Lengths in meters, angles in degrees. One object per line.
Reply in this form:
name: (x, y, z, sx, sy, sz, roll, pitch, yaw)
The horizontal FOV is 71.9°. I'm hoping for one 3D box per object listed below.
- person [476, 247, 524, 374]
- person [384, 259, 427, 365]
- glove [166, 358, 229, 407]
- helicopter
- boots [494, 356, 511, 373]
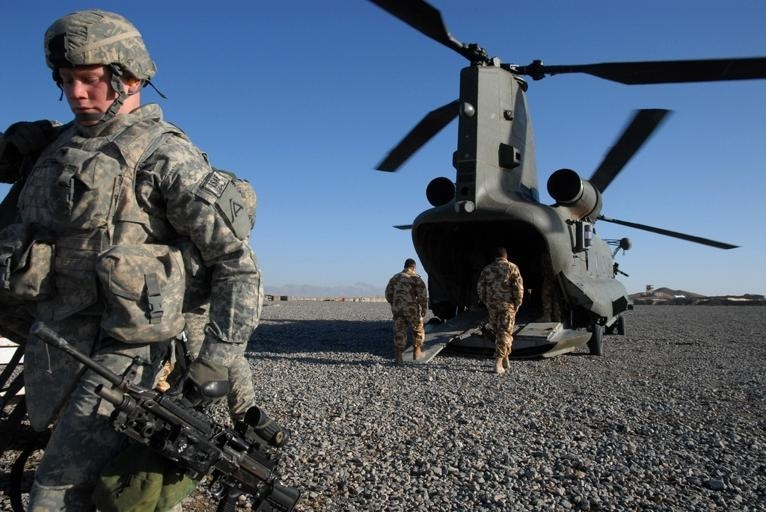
person: (1.573, 0.727, 7.265, 0.379, 1.708, 0.479, 7, -7, -31)
person: (0.307, 0.803, 7.676, 0.615, 1.487, 0.415, 4, -6, -2)
glove: (-0.855, 0.616, 2.552, 0.271, 0.142, 0.211, -4, -41, 30)
helicopter: (2.572, -0.643, 9.011, 4.485, 2.850, 5.644, 3, 0, 25)
boots: (1.576, 1.465, 7.087, 0.201, 0.212, 0.436, 2, -7, 13)
